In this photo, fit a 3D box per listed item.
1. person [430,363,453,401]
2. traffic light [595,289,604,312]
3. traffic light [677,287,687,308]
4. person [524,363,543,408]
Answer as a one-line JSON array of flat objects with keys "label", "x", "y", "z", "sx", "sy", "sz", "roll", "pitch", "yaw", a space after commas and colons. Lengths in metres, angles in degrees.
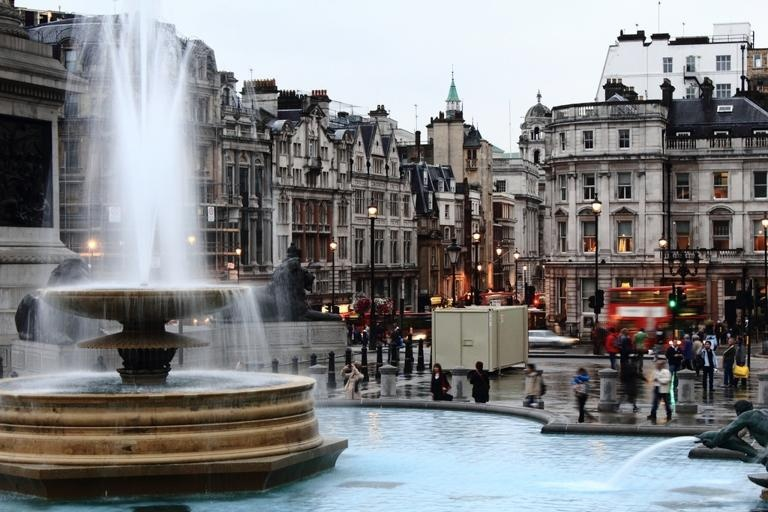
[{"label": "person", "x": 1.891, "y": 4.066, "z": 41.862, "sx": 0.633, "sy": 1.153, "sz": 0.967, "roll": 0, "pitch": -3, "yaw": 4}, {"label": "traffic light", "x": 11.136, "y": 2.326, "z": 66.906, "sx": 0.389, "sy": 1.124, "sz": 1.322, "roll": 0, "pitch": -3, "yaw": 7}, {"label": "traffic light", "x": 13.745, "y": 1.881, "z": 59.740, "sx": 0.239, "sy": 0.849, "sz": 1.146, "roll": -1, "pitch": -3, "yaw": 22}, {"label": "person", "x": 4.771, "y": 4.079, "z": 41.062, "sx": 0.621, "sy": 1.357, "sz": 1.758, "roll": 0, "pitch": -3, "yaw": 6}]
